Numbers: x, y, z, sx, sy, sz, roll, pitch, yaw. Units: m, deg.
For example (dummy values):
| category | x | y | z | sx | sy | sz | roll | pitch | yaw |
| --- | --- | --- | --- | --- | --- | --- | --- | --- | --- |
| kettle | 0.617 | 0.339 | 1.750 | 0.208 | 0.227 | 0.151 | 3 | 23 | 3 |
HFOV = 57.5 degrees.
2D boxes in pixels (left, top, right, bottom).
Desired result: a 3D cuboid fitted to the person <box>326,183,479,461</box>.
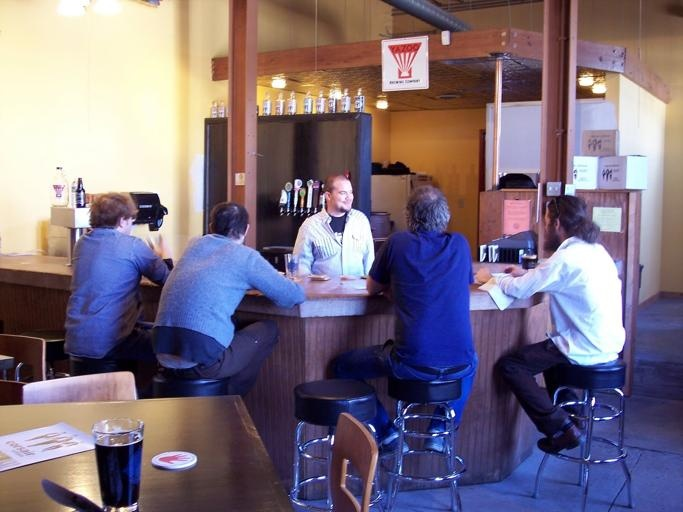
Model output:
| category | x | y | z | sx | sy | sz | roll | pitch | yaw |
| --- | --- | --- | --- | --- | --- | --- | --- | --- | --- |
| person | 0.439 | 0.396 | 3.784 | 0.909 | 1.566 | 0.851 | -1 | -1 | 41 |

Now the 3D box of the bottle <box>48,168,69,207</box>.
| category | x | y | z | sx | sy | sz | roll | pitch | yaw |
| --- | --- | --- | --- | --- | --- | --- | --- | --- | --- |
| bottle | -2.805 | -0.694 | 6.178 | 0.164 | 0.382 | 0.360 | -6 | 12 | -22 |

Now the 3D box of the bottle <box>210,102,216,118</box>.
| category | x | y | z | sx | sy | sz | roll | pitch | yaw |
| --- | --- | --- | --- | --- | --- | --- | --- | --- | --- |
| bottle | -1.488 | -1.714 | 7.293 | 0.079 | 0.191 | 0.251 | -4 | 11 | -10 |

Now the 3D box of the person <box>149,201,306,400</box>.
| category | x | y | z | sx | sy | sz | roll | pitch | yaw |
| --- | --- | --- | --- | --- | --- | --- | --- | --- | --- |
| person | -0.637 | 0.365 | 3.550 | 0.618 | 1.277 | 0.933 | 9 | 8 | 30 |

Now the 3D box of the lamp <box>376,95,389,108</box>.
| category | x | y | z | sx | sy | sz | roll | pitch | yaw |
| --- | --- | --- | --- | --- | --- | --- | --- | --- | --- |
| lamp | 0.744 | -2.871 | 11.603 | 0.175 | 0.184 | 0.180 | 3 | 6 | 30 |

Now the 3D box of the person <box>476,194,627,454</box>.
| category | x | y | z | sx | sy | sz | roll | pitch | yaw |
| --- | --- | --- | --- | --- | --- | --- | --- | --- | --- |
| person | 1.322 | 0.412 | 3.827 | 0.736 | 1.515 | 0.467 | -9 | 12 | -32 |

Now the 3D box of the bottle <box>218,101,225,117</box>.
| category | x | y | z | sx | sy | sz | roll | pitch | yaw |
| --- | --- | --- | --- | --- | --- | --- | --- | --- | --- |
| bottle | -1.398 | -1.709 | 7.265 | 0.090 | 0.193 | 0.301 | -4 | 11 | -10 |

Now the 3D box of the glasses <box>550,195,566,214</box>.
| category | x | y | z | sx | sy | sz | roll | pitch | yaw |
| --- | --- | --- | --- | --- | --- | --- | --- | --- | --- |
| glasses | 1.384 | -0.332 | 3.977 | 0.034 | 0.099 | 0.072 | 13 | -19 | -27 |

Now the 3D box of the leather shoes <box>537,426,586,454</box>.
| category | x | y | z | sx | sy | sz | roll | pitch | yaw |
| --- | --- | --- | --- | --- | --- | --- | --- | --- | --- |
| leather shoes | 1.321 | 1.118 | 3.866 | 0.131 | 0.171 | 0.328 | -15 | 1 | -42 |
